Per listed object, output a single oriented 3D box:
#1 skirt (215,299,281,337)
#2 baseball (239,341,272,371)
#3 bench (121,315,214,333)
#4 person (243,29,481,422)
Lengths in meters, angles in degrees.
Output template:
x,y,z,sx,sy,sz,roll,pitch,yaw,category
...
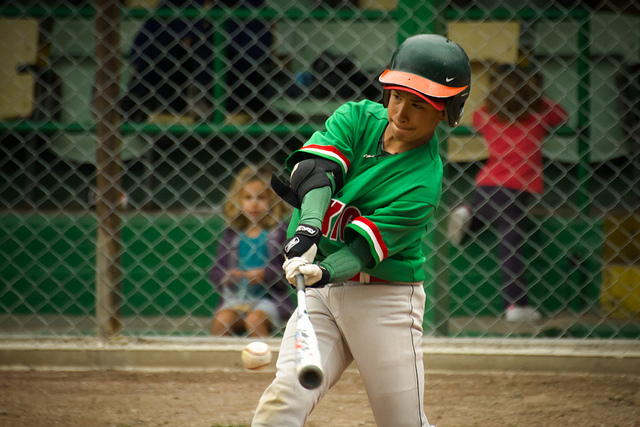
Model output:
x,y,z,sx,sy,sz,roll,pitch,yaw,category
-0.528,0.788,7.708,0.474,0.273,0.080,2,5,0,skirt
-0.392,0.901,6.401,0.173,0.190,0.178,1,5,-4,baseball
-1.153,0.834,7.818,0.699,0.163,0.385,1,5,-7,bench
0.290,0.088,6.238,1.174,2.369,0.672,1,5,-4,person
